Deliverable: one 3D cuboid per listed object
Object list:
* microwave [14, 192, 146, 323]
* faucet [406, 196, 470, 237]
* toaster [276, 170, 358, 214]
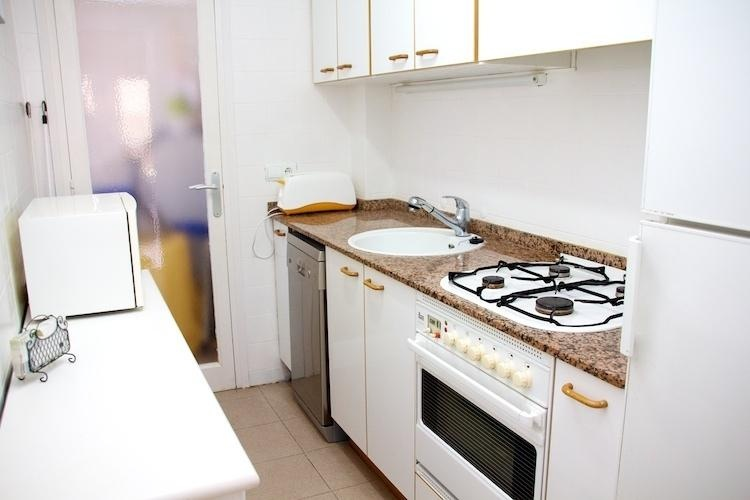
[{"bbox_3d":[-1.140,0.005,2.109,0.407,0.379,0.551,-5,19,-21],"label":"microwave"},{"bbox_3d":[0.327,-0.167,2.585,0.285,0.212,0.146,-11,17,-21],"label":"faucet"},{"bbox_3d":[-0.349,-0.360,3.243,0.531,0.267,0.150,-13,18,-28],"label":"toaster"}]
